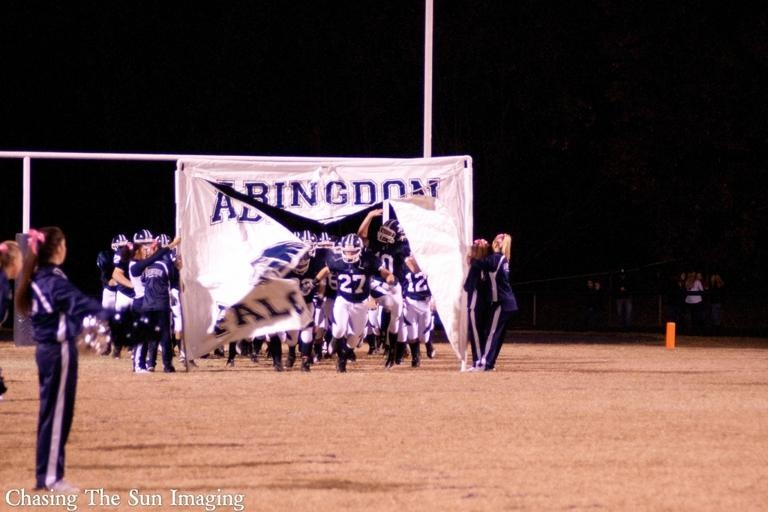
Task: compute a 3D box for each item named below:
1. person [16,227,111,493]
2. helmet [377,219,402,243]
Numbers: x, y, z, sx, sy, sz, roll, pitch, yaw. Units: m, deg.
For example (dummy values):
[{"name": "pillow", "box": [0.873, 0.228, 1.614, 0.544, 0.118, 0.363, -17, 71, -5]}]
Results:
[{"name": "person", "box": [-4.264, 1.308, 14.058, 0.771, 3.300, 0.998, -6, 10, -35]}, {"name": "helmet", "box": [0.085, -0.469, 21.357, 0.470, 0.426, 0.370, 2, 2, -8]}]
